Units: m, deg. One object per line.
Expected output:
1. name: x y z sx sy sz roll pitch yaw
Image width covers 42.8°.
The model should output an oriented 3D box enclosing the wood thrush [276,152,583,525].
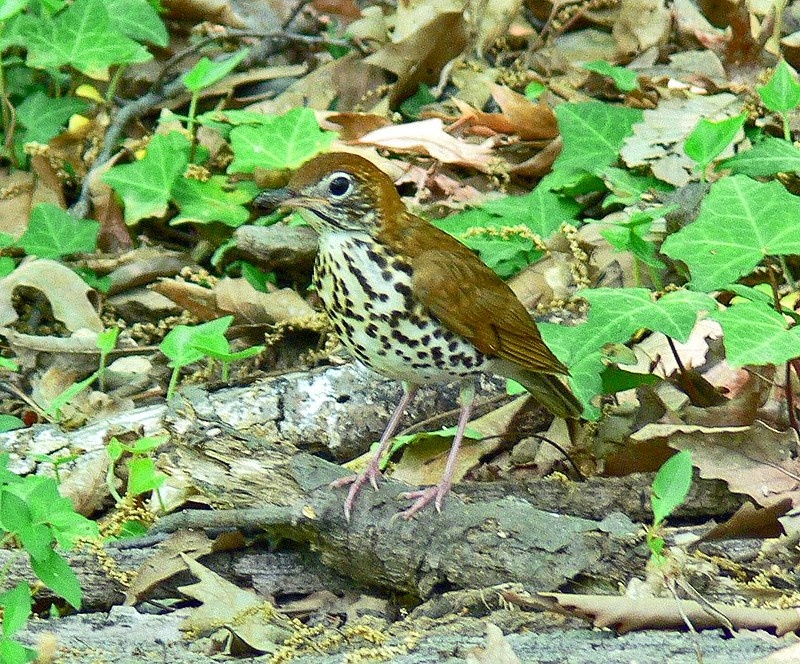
1. wood thrush: 0.100 -0.079 3.808 0.986 1.156 0.586 -9 27 -20
